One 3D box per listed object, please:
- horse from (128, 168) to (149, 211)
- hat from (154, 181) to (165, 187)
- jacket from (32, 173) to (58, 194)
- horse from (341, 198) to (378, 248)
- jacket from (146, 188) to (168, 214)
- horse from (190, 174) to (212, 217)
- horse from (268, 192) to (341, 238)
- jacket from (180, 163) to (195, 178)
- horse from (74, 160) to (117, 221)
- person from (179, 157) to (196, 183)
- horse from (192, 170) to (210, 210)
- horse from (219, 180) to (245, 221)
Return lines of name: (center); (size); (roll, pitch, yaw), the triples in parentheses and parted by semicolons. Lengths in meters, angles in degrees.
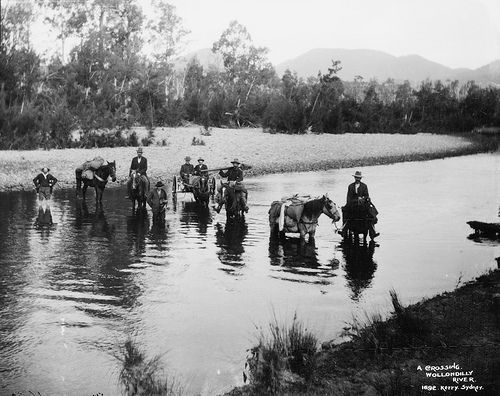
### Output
horse: (-4.860, -0.350, 26.095); (0.868, 1.914, 1.343); (-2, 11, -12)
hat: (-4.111, -0.644, 27.133); (0.455, 0.170, 0.487); (3, 6, 22)
jacket: (-9.596, -0.625, 27.823); (0.938, 1.260, 0.595); (3, 14, -11)
horse: (3.831, 0.773, 20.572); (1.034, 1.711, 1.275); (-5, 12, -29)
jacket: (-3.736, 0.089, 23.950); (0.845, 1.061, 0.579); (1, 10, 3)
horse: (-2.267, -0.350, 28.381); (0.949, 1.602, 2.060); (-1, 11, -11)
horse: (1.670, 0.745, 20.401); (1.019, 1.876, 3.193); (7, -1, -39)
jacket: (-3.074, -1.372, 29.315); (0.870, 0.912, 0.507); (1, -5, -17)
horse: (-7.350, -0.657, 28.292); (2.977, 2.523, 0.718); (7, 10, 37)
person: (-2.969, -1.441, 29.069); (0.736, 1.298, 1.395); (-1, 11, -7)
horse: (-2.292, -0.449, 28.431); (0.824, 1.701, 1.081); (1, 11, 1)
horse: (-0.664, 0.069, 25.192); (0.800, 1.538, 1.716); (-2, 11, -14)
